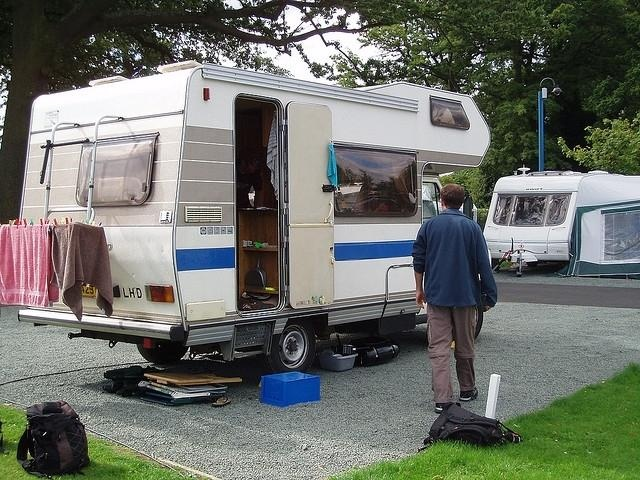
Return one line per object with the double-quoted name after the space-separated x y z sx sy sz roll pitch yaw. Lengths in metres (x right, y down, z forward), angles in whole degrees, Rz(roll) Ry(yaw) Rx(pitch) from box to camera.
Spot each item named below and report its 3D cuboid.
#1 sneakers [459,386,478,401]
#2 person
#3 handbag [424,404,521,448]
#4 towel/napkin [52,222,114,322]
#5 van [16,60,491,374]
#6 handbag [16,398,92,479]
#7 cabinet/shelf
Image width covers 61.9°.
1.613 1.680 5.769 0.088 0.128 0.274 2 6 38 "sneakers"
1.407 0.589 5.612 0.770 2.096 0.477 -1 0 -16 "person"
1.253 1.557 4.499 0.474 0.191 0.390 -2 -2 26 "handbag"
-2.511 0.323 5.669 0.592 1.020 0.476 -1 0 -24 "towel/napkin"
-0.323 -0.345 8.738 3.472 3.730 6.715 3 5 43 "van"
-1.947 1.501 4.074 0.492 0.503 0.455 -11 -12 34 "handbag"
-0.776 0.188 7.555 0.639 1.274 0.373 2 6 25 "cabinet/shelf"
